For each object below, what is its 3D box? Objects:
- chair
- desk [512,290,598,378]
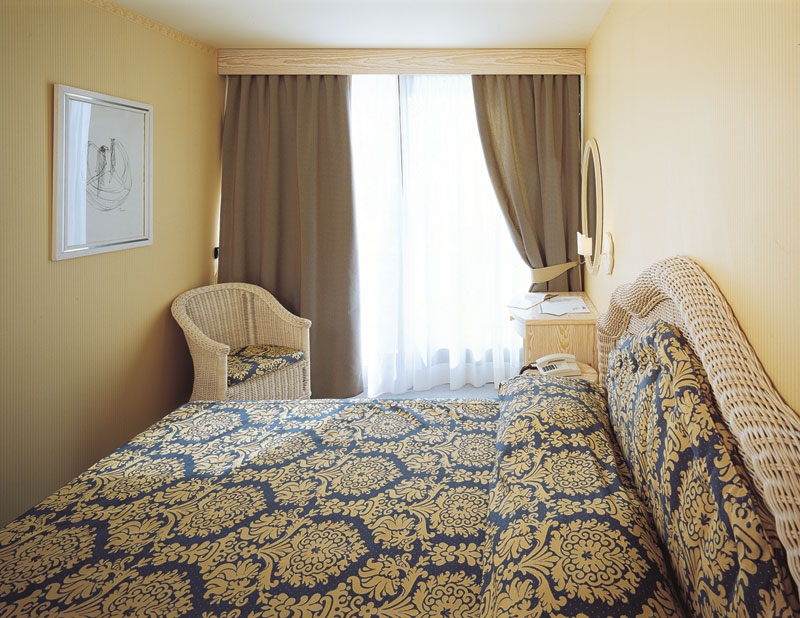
[{"bbox_3d":[-1.141,0.345,4.186,0.681,1.007,0.778,5,12,33],"label":"chair"},{"bbox_3d":[1.117,0.221,4.257,0.536,0.545,1.010,-1,11,16],"label":"desk"}]
